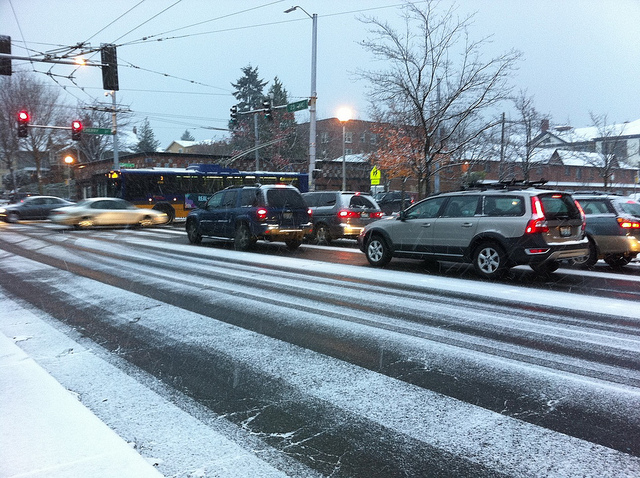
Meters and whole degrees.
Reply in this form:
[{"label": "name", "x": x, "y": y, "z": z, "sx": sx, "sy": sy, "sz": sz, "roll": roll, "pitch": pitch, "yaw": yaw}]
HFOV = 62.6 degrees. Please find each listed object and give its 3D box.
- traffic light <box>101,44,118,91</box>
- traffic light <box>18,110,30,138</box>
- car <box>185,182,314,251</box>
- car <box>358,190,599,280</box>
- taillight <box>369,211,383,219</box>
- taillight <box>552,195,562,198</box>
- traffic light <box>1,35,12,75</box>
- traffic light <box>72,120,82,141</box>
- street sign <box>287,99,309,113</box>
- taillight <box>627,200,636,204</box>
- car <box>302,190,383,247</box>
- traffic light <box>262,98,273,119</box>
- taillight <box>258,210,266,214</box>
[{"label": "traffic light", "x": -7.626, "y": -6.281, "z": 19.063, "sx": 0.494, "sy": 1.614, "sz": 0.627, "roll": -4, "pitch": 9, "yaw": -22}, {"label": "traffic light", "x": -13.908, "y": -5.456, "z": 24.632, "sx": 0.431, "sy": 1.113, "sz": 2.074, "roll": -5, "pitch": 10, "yaw": -29}, {"label": "car", "x": -2.405, "y": -0.815, "z": 17.495, "sx": 1.962, "sy": 1.673, "sz": 3.904, "roll": -3, "pitch": 8, "yaw": -41}, {"label": "car", "x": 3.407, "y": -0.441, "z": 12.059, "sx": 2.150, "sy": 1.591, "sz": 4.675, "roll": -2, "pitch": 7, "yaw": -43}, {"label": "taillight", "x": 1.987, "y": -0.863, "z": 18.657, "sx": 0.378, "sy": 0.181, "sz": 0.247, "roll": 2, "pitch": 6, "yaw": 3}, {"label": "taillight", "x": 4.840, "y": -0.884, "z": 10.749, "sx": 0.181, "sy": 0.055, "sz": 0.026, "roll": -5, "pitch": 9, "yaw": -27}, {"label": "traffic light", "x": -10.380, "y": -6.099, "z": 17.359, "sx": 0.341, "sy": 1.166, "sz": 0.967, "roll": -5, "pitch": 10, "yaw": -30}, {"label": "traffic light", "x": -12.804, "y": -5.736, "z": 27.681, "sx": 0.411, "sy": 0.980, "sz": 2.467, "roll": -4, "pitch": 9, "yaw": -26}, {"label": "street sign", "x": -1.038, "y": -6.267, "z": 24.722, "sx": 0.817, "sy": 0.453, "sz": 2.522, "roll": -1, "pitch": 8, "yaw": -8}, {"label": "taillight", "x": 7.429, "y": -0.895, "z": 12.527, "sx": 0.208, "sy": 0.086, "sz": 0.080, "roll": -4, "pitch": 9, "yaw": -25}, {"label": "car", "x": 0.913, "y": -0.835, "z": 18.548, "sx": 1.421, "sy": 1.230, "sz": 3.145, "roll": -3, "pitch": 8, "yaw": -27}, {"label": "traffic light", "x": -2.803, "y": -6.990, "z": 28.172, "sx": 0.461, "sy": 1.131, "sz": 1.748, "roll": -1, "pitch": 8, "yaw": -6}, {"label": "taillight", "x": -1.733, "y": -0.830, "z": 15.817, "sx": 0.207, "sy": 0.113, "sz": 0.030, "roll": 0, "pitch": 8, "yaw": 2}]
